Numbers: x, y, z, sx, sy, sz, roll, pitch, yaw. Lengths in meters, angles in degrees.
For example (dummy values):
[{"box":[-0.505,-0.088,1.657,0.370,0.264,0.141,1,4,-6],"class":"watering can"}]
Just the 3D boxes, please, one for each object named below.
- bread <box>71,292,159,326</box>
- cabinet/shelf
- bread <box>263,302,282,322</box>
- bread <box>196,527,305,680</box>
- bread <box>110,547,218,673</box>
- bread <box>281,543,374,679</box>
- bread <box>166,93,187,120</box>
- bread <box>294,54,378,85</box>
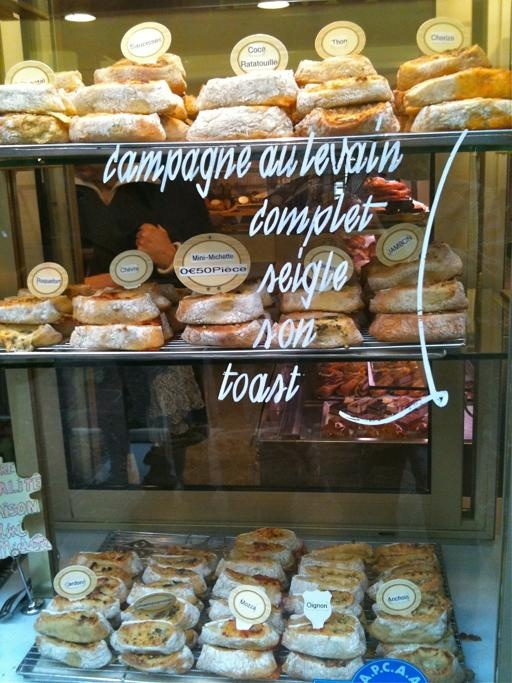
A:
[{"box":[-0.328,-0.085,1.310,0.145,0.043,0.095,-2,9,2],"class":"bread"},{"box":[-0.019,-0.212,1.374,1.187,0.519,0.341,-3,12,5],"class":"cabinet/shelf"},{"box":[0.038,-0.069,1.333,0.046,0.030,0.043,0,52,-5],"class":"bread"},{"box":[-0.016,0.689,1.393,0.196,0.081,0.368,-2,29,18],"class":"bread"},{"box":[-0.212,0.644,1.389,0.144,0.064,0.217,7,34,7],"class":"bread"},{"box":[0.185,0.704,1.351,0.171,0.063,0.305,-7,32,20],"class":"bread"},{"box":[-0.173,-0.515,1.248,0.057,0.017,0.055,22,-9,-8],"class":"bread"},{"box":[0.169,-0.568,1.218,0.160,0.045,0.083,-3,27,10],"class":"bread"}]
